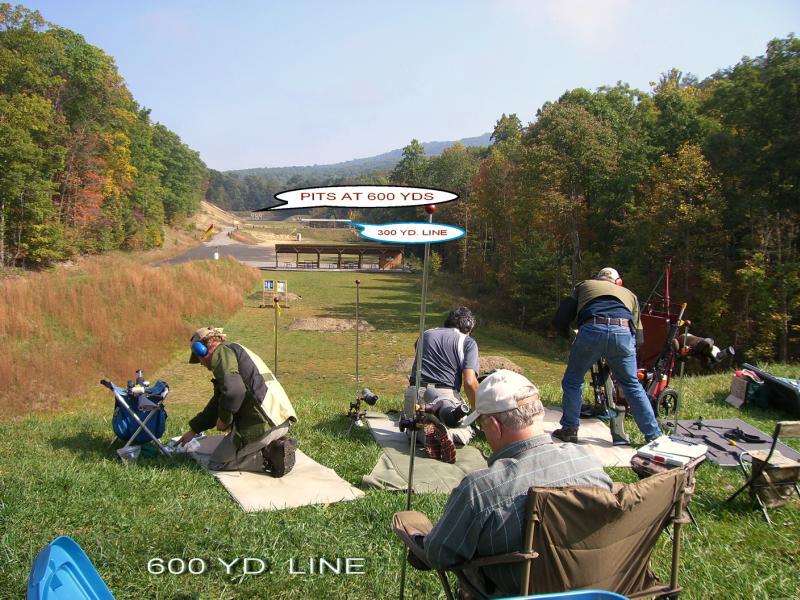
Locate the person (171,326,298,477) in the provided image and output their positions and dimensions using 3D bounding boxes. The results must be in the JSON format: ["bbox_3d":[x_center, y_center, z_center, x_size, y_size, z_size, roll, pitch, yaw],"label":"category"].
[{"bbox_3d":[-2.146,1.380,9.855,1.476,1.890,0.669,3,12,10],"label":"person"}]

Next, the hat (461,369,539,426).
[{"bbox_3d":[0.923,0.914,6.797,0.576,0.346,0.394,-22,3,15],"label":"hat"}]

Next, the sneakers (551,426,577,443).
[{"bbox_3d":[2.381,1.949,10.563,0.159,0.175,0.363,-2,8,-32],"label":"sneakers"}]

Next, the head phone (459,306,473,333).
[{"bbox_3d":[0.993,0.304,10.945,0.257,0.340,0.329,1,-4,-3],"label":"head phone"}]

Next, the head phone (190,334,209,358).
[{"bbox_3d":[-2.703,0.624,9.766,0.209,0.145,0.273,-27,-15,-31],"label":"head phone"}]
